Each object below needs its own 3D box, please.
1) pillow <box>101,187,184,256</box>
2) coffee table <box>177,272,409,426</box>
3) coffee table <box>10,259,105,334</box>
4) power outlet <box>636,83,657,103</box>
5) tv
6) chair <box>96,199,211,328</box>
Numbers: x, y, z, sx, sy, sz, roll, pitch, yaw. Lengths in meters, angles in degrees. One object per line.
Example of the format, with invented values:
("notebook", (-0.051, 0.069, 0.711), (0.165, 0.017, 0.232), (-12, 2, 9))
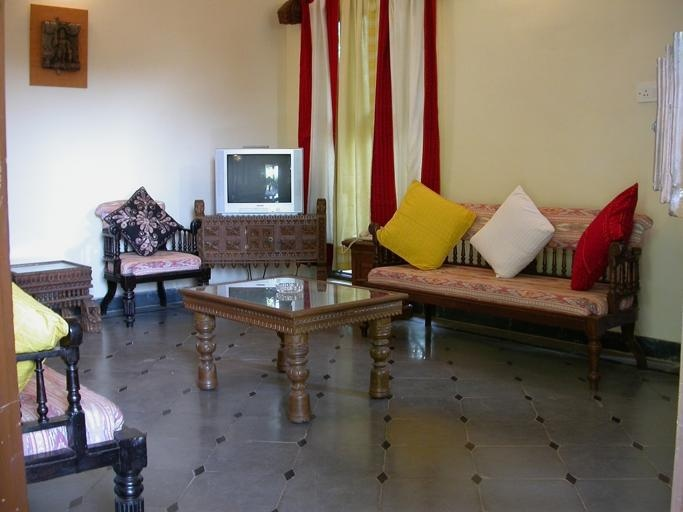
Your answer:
("pillow", (-1.907, -0.322, 5.210), (0.157, 0.623, 0.626), (-14, 30, 49))
("coffee table", (-0.303, 0.518, 3.426), (1.242, 0.654, 0.844), (7, 12, 39))
("coffee table", (-1.946, 0.258, 3.713), (0.547, 0.483, 0.585), (1, 5, 8))
("power outlet", (2.120, -1.138, 3.761), (0.051, 0.145, 0.129), (-8, 12, -40))
("tv", (-0.838, -0.751, 5.506), (0.933, 0.773, 0.612), (1, 6, 0))
("chair", (-1.743, -0.003, 5.588), (1.160, 1.482, 1.028), (-5, 8, -40))
